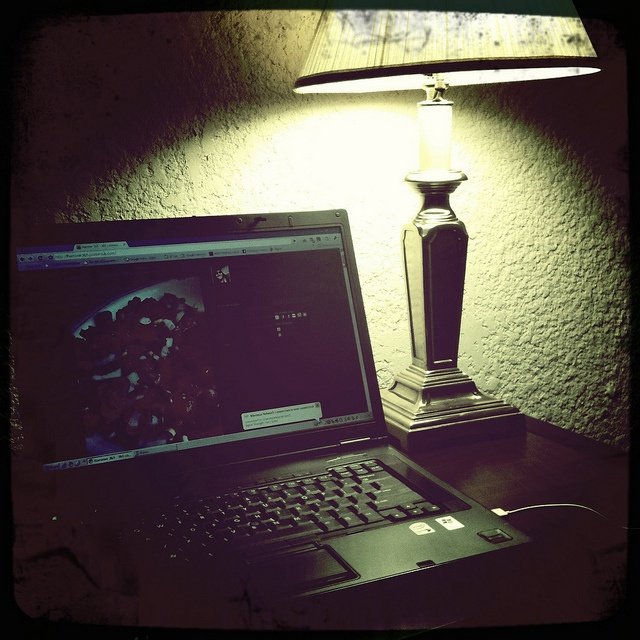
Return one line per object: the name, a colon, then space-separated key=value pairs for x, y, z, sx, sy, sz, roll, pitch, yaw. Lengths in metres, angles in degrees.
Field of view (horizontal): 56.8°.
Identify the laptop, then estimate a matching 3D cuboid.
laptop: x=-0.056 y=0.064 z=0.582 sx=0.439 sy=0.263 sz=0.362 roll=-5 pitch=14 yaw=-31
